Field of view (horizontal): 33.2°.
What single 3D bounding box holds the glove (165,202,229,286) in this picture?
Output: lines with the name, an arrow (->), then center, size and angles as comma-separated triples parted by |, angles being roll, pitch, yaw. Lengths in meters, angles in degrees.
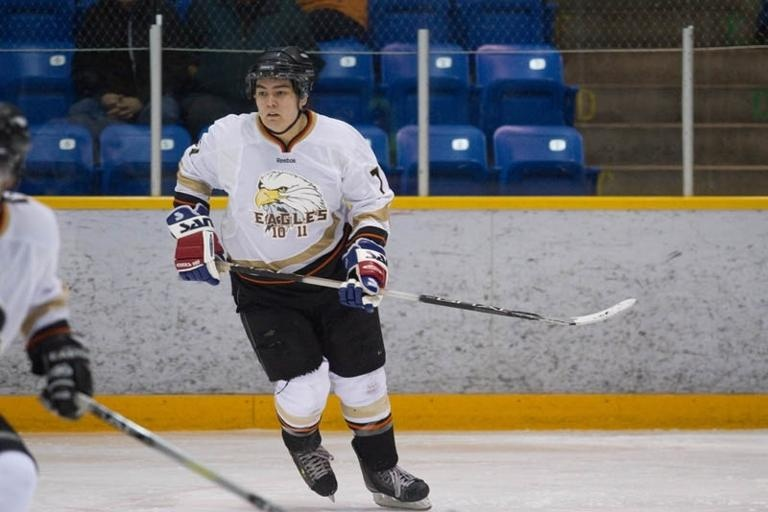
glove -> -0.871, -0.062, 6.055 | 0.268, 0.360, 0.136 | -10, 1, 14

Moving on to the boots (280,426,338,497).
boots -> -0.348, 0.953, 6.161 | 0.160, 0.437, 0.244 | -30, 2, -8

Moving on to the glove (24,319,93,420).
glove -> -1.296, 0.449, 5.297 | 0.246, 0.406, 0.112 | -23, -2, 5

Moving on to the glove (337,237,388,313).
glove -> -0.098, 0.086, 5.980 | 0.217, 0.334, 0.216 | 0, 13, 1

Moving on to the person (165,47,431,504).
person -> -0.399, 0.108, 6.065 | 1.157, 2.131, 0.491 | 0, 14, -1

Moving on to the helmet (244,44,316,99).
helmet -> -0.487, -0.863, 6.043 | 0.238, 0.255, 0.288 | -1, 2, 27
